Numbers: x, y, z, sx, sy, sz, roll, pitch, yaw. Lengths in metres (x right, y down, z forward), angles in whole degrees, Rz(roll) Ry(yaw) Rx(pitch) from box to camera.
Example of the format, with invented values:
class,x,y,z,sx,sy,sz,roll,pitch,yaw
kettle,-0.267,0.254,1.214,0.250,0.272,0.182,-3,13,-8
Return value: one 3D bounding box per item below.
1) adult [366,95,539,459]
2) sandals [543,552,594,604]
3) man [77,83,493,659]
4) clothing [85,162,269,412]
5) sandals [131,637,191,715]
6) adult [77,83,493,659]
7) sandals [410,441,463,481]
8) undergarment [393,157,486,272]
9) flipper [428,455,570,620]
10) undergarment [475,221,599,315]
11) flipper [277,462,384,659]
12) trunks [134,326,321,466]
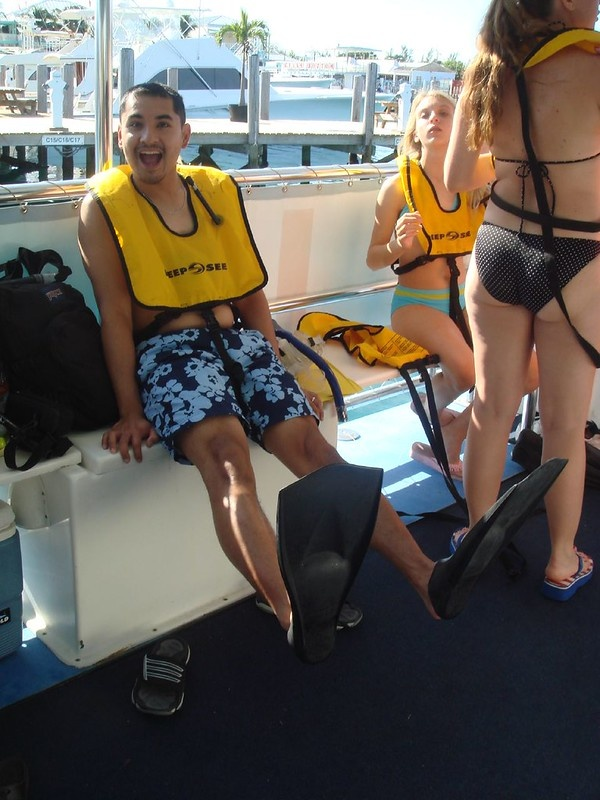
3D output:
class,x,y,z,sx,sy,sz,roll,pitch,yaw
adult,0.684,-0.462,2.666,0.727,1.633,0.681,-11,12,-21
sandals,0.844,0.571,1.960,0.093,0.090,0.213,23,37,39
man,-0.150,-0.170,1.479,0.634,0.884,1.487,-14,39,-27
clothing,-0.428,-0.323,1.997,0.563,0.670,0.231,-16,-1,-31
sandals,-0.333,0.650,1.486,0.123,0.052,0.221,11,25,-1
adult,-0.147,-0.139,1.503,0.632,0.851,1.434,-17,46,-28
sandals,0.636,0.268,2.832,0.094,0.106,0.278,-45,44,-19
undergarment,0.588,-0.858,2.666,0.392,0.473,0.271,-13,29,-18
flipper,0.566,0.402,1.710,0.130,0.607,0.163,48,24,24
undergarment,0.593,-0.357,1.633,0.240,0.234,0.344,-5,18,-39
flipper,0.022,0.263,1.085,0.209,0.335,0.128,7,-7,-35
trunks,-0.216,-0.029,1.687,0.433,0.275,0.434,-7,21,-18
